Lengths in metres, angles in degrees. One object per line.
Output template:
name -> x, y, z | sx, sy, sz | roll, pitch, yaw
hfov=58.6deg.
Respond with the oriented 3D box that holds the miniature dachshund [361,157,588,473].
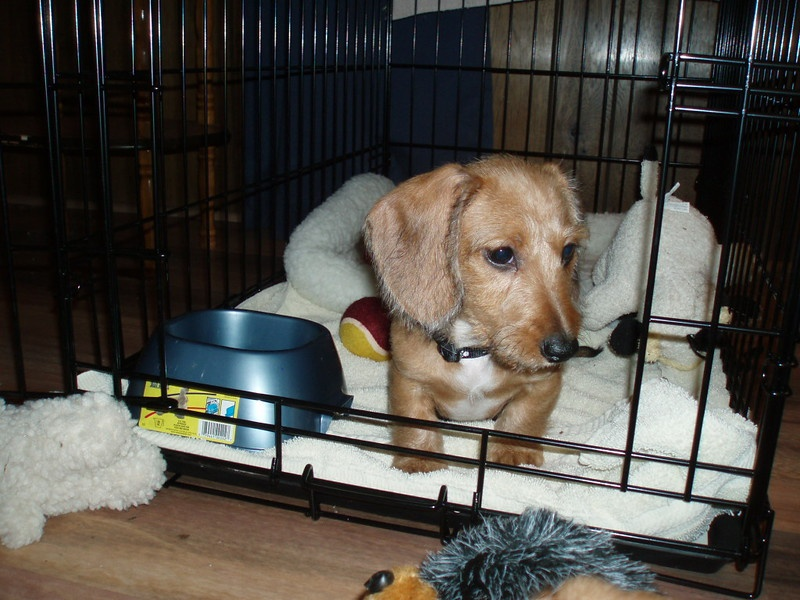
miniature dachshund -> 0.230, 0.035, 2.517 | 0.750, 1.038, 1.154 | 0, 15, -13
